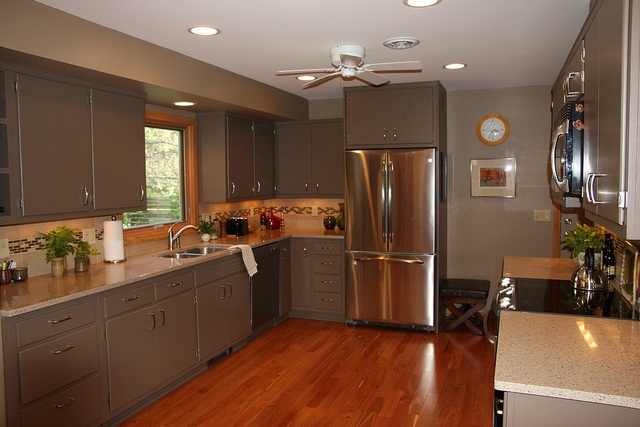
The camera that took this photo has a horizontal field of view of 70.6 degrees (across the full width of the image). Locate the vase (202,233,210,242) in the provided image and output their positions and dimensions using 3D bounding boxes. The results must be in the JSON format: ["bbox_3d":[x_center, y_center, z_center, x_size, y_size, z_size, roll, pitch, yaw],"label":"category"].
[{"bbox_3d":[-1.327,0.269,5.248,0.070,0.062,0.069,1,9,3],"label":"vase"}]

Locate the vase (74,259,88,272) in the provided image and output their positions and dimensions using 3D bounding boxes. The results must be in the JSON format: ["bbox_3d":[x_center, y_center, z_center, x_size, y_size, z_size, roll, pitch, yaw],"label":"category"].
[{"bbox_3d":[-2.021,0.431,3.835,0.109,0.102,0.101,0,3,-15],"label":"vase"}]

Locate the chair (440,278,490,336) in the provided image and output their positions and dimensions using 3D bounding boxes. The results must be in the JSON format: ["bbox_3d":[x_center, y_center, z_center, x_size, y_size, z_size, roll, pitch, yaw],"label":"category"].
[{"bbox_3d":[1.766,0.996,5.506,0.545,0.525,0.826,0,0,19],"label":"chair"}]

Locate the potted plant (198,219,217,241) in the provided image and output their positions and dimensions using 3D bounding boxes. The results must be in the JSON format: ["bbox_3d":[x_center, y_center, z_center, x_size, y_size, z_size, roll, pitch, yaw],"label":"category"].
[{"bbox_3d":[-1.344,0.184,5.345,0.188,0.209,0.212,0,-1,39],"label":"potted plant"}]

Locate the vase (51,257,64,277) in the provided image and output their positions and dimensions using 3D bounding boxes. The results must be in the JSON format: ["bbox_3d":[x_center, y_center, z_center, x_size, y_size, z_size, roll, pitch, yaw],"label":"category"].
[{"bbox_3d":[-2.137,0.435,3.694,0.085,0.155,0.049,-7,12,-30],"label":"vase"}]

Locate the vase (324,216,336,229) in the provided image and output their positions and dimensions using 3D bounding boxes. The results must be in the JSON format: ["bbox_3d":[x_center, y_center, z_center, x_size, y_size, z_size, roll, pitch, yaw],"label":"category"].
[{"bbox_3d":[0.129,0.121,6.140,0.154,0.144,0.146,0,9,2],"label":"vase"}]

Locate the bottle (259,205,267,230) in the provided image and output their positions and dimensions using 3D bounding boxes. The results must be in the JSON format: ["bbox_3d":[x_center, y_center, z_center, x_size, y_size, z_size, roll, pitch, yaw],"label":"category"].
[{"bbox_3d":[-0.821,0.040,6.449,0.104,0.307,0.409,-3,10,-7],"label":"bottle"}]

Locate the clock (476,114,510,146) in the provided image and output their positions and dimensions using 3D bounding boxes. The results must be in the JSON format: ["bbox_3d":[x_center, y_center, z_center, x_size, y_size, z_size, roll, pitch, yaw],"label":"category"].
[{"bbox_3d":[2.172,-1.068,5.645,0.417,0.429,0.056,0,3,23],"label":"clock"}]

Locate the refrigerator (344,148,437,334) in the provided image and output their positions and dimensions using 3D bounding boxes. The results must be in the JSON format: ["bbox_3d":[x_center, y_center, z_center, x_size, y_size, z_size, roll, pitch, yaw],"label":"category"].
[{"bbox_3d":[0.844,0.263,5.268,1.196,2.066,0.784,3,7,16],"label":"refrigerator"}]

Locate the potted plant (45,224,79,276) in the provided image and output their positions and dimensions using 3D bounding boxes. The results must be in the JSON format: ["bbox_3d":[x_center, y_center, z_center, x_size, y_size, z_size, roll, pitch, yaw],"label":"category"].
[{"bbox_3d":[-2.161,0.301,3.768,0.228,0.390,0.212,-8,13,-34],"label":"potted plant"}]
